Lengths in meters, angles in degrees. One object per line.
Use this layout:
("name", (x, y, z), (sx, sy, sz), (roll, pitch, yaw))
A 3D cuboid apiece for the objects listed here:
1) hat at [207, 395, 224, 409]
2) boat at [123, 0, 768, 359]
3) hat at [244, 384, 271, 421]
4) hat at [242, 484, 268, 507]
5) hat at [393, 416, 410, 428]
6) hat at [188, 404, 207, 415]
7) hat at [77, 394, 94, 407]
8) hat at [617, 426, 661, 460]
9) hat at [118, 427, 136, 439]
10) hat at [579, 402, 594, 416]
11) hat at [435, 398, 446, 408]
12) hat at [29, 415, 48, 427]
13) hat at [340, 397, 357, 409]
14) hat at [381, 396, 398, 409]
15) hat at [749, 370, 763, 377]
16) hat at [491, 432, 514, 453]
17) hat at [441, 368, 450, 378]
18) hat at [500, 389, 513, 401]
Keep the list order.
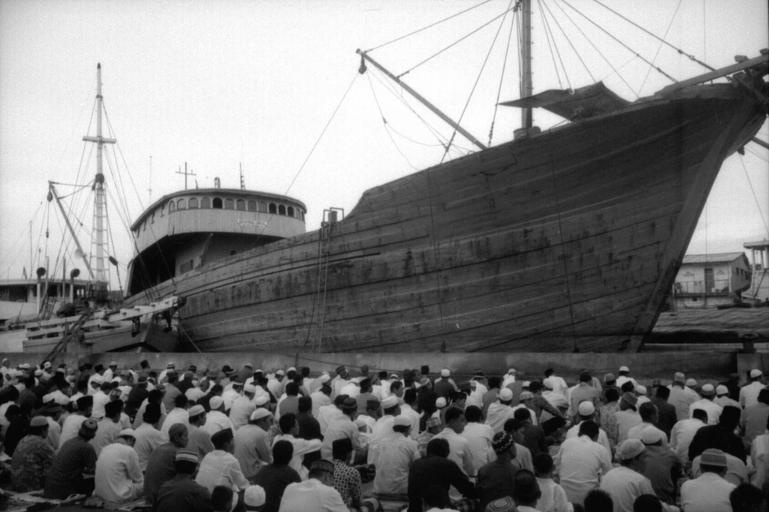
("hat", (-3.045, 2.708, 16.399), (0.246, 0.158, 0.327), (2, 22, 17))
("boat", (2.960, -0.279, 28.191), (21.900, 9.132, 7.859), (-15, -15, 35))
("hat", (-2.325, 2.750, 16.743), (0.468, 0.578, 0.337), (15, -2, 25))
("hat", (-1.880, 3.501, 13.021), (0.286, 0.317, 0.188), (5, -7, -17))
("hat", (0.308, 2.768, 15.029), (0.279, 0.178, 0.271), (3, -6, 0))
("hat", (-3.282, 2.691, 15.533), (0.198, 0.097, 0.195), (-7, -1, 18))
("hat", (-5.506, 2.666, 16.478), (0.222, 0.153, 0.209), (0, -9, 2))
("hat", (4.044, 2.979, 14.104), (0.770, 0.246, 0.481), (-21, 15, -34))
("hat", (-4.417, 3.048, 15.391), (0.239, 0.082, 0.210), (0, -12, 23))
("hat", (3.480, 2.640, 15.451), (0.244, 0.246, 0.305), (2, -7, 11))
("hat", (1.073, 2.762, 16.868), (0.216, 0.183, 0.322), (3, -6, 3))
("hat", (-6.112, 2.932, 15.849), (0.268, 0.198, 0.326), (6, -7, -23))
("hat", (-0.626, 2.626, 16.032), (0.234, 0.174, 0.187), (4, -7, -7))
("hat", (0.103, 2.579, 15.753), (0.231, 0.105, 0.220), (-6, -4, -34))
("hat", (7.457, 2.380, 17.991), (0.194, 0.185, 0.415), (1, -7, 20))
("hat", (1.821, 2.879, 13.963), (0.339, 0.254, 0.245), (-36, 27, -26))
("hat", (1.326, 2.532, 19.430), (0.226, 0.227, 0.296), (0, -21, 2))
("hat", (2.244, 2.562, 16.539), (0.240, 0.214, 0.276), (2, -6, 5))
